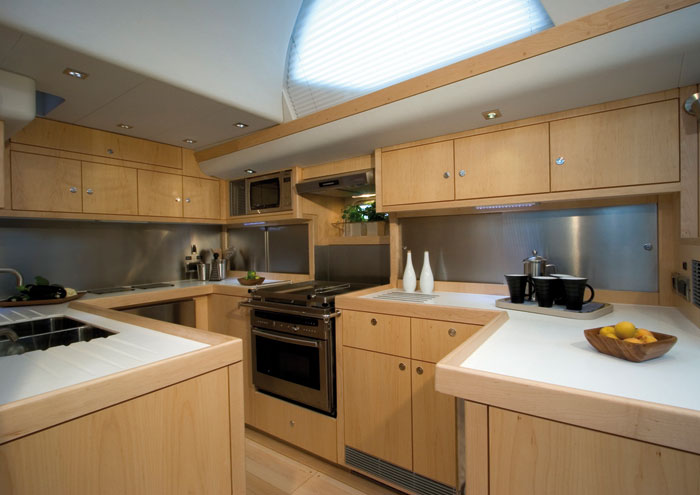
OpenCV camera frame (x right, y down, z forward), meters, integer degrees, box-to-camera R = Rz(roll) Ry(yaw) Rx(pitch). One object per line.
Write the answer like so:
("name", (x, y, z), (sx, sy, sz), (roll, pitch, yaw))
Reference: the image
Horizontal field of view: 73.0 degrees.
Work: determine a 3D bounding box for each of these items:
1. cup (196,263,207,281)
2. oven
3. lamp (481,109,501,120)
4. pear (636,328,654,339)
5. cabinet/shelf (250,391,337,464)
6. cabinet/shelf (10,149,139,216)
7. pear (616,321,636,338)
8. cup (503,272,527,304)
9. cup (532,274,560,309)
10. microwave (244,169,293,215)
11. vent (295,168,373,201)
("cup", (-1.417, 0.229, 4.548), (0.097, 0.164, 0.051), (1, 1, 10))
("oven", (-0.300, 0.728, 3.663), (0.900, 0.871, 0.737), (1, 2, 37))
("lamp", (0.880, -0.826, 2.943), (0.104, 0.036, 0.097), (1, 1, 26))
("pear", (1.318, 0.379, 2.125), (0.041, 0.026, 0.049), (3, 6, -6))
("cabinet/shelf", (-0.395, 1.263, 3.385), (0.551, 0.257, 0.374), (2, -4, 34))
("cabinet/shelf", (-2.169, -0.457, 3.588), (0.337, 0.610, 0.655), (-5, -4, 38))
("pear", (1.223, 0.362, 2.118), (0.072, 0.075, 0.070), (3, -7, 4))
("cup", (0.996, 0.246, 2.911), (0.178, 0.185, 0.147), (-1, -7, 20))
("cup", (1.115, 0.248, 2.710), (0.166, 0.177, 0.156), (3, 2, 0))
("microwave", (-0.731, -0.487, 4.247), (0.511, 0.339, 0.330), (-1, -1, 40))
("vent", (0.007, -0.515, 3.932), (0.772, 0.166, 0.556), (1, 1, 40))
